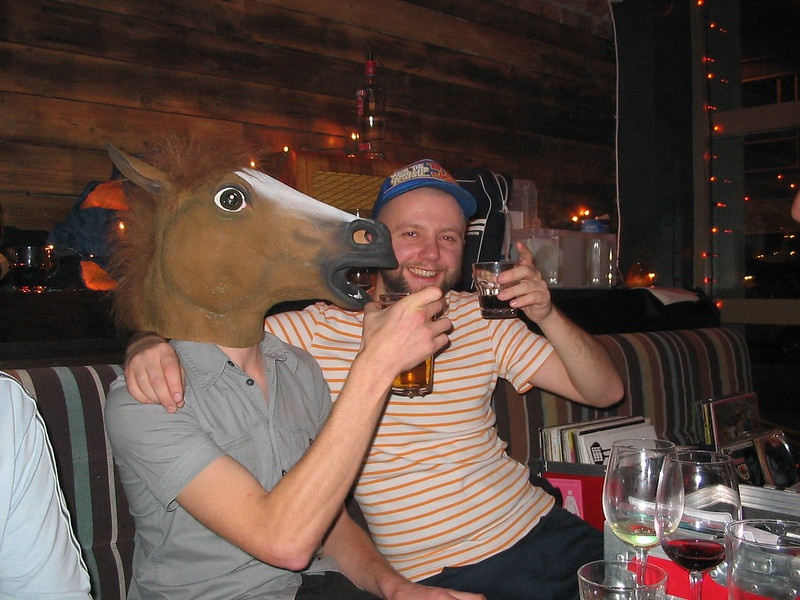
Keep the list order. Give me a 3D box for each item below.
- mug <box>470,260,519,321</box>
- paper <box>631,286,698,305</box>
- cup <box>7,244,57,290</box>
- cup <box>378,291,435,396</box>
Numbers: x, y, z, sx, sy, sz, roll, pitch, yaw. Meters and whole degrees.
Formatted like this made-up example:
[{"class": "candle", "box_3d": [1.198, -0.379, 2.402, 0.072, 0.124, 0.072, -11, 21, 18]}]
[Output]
[{"class": "mug", "box_3d": [0.265, -0.033, 1.933, 0.187, 0.162, 0.155, 0, -1, -18]}, {"class": "paper", "box_3d": [1.357, -0.022, 3.404, 0.175, 0.088, 0.490, 0, 1, 39]}, {"class": "cup", "box_3d": [-1.206, -0.109, 2.203, 0.201, 0.156, 0.124, -1, 3, -41]}, {"class": "cup", "box_3d": [0.027, 0.137, 1.887, 0.192, 0.251, 0.284, 1, 20, -2]}]
